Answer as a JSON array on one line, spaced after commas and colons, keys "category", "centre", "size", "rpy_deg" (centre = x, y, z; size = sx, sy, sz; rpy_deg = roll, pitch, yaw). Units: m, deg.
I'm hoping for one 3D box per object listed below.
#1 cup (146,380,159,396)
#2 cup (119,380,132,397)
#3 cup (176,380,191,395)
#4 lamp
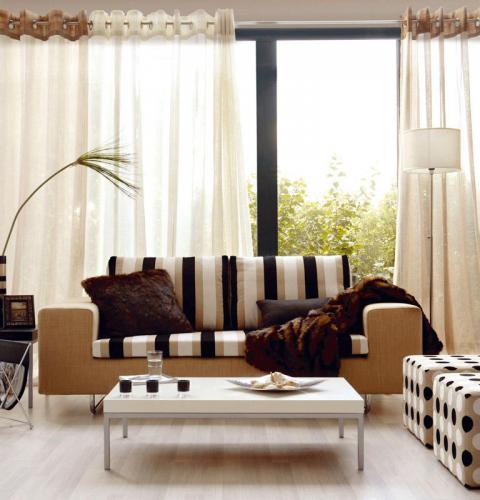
[{"category": "cup", "centre": [-0.358, 0.560, 2.148], "size": [0.045, 0.055, 0.043], "rpy_deg": [0, -1, 0]}, {"category": "cup", "centre": [-0.470, 0.565, 2.163], "size": [0.041, 0.061, 0.045], "rpy_deg": [0, -5, -3]}, {"category": "cup", "centre": [-0.236, 0.564, 2.178], "size": [0.045, 0.044, 0.038], "rpy_deg": [1, 0, 9]}, {"category": "lamp", "centre": [1.452, -0.154, 4.016], "size": [0.395, 1.896, 0.475], "rpy_deg": [4, 34, 20]}]
